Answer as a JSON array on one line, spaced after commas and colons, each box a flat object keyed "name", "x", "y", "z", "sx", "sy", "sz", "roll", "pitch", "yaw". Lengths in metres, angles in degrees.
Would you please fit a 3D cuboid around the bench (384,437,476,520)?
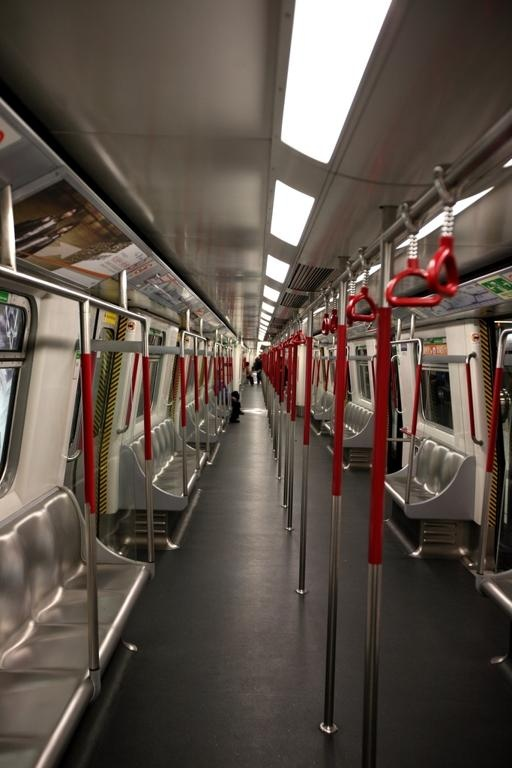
[{"name": "bench", "x": 1.834, "y": 1.028, "z": 5.084, "sx": 0.565, "sy": 0.750, "sz": 1.499, "roll": 3, "pitch": -1, "yaw": 6}]

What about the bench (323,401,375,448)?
[{"name": "bench", "x": 2.070, "y": 0.841, "z": 9.188, "sx": 0.524, "sy": 0.694, "sz": 2.195, "roll": 1, "pitch": 2, "yaw": 12}]

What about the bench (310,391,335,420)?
[{"name": "bench", "x": 1.907, "y": 0.640, "z": 12.732, "sx": 0.543, "sy": 0.666, "sz": 1.937, "roll": 1, "pitch": 7, "yaw": -9}]
